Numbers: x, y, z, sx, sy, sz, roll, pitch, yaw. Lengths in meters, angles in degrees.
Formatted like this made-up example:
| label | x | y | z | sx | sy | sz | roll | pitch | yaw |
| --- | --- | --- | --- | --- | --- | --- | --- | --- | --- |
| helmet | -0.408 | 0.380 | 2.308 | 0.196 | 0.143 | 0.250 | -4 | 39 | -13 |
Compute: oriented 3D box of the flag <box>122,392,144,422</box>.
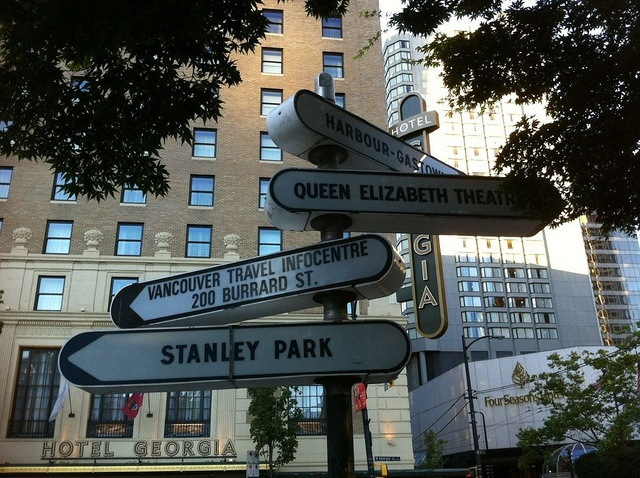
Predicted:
| label | x | y | z | sx | sy | sz | roll | pitch | yaw |
| --- | --- | --- | --- | --- | --- | --- | --- | --- | --- |
| flag | -8.766 | 7.795 | 27.646 | 0.830 | 1.119 | 1.146 | 2 | -22 | -10 |

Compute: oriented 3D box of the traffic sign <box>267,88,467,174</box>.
| label | x | y | z | sx | sy | sz | roll | pitch | yaw |
| --- | --- | --- | --- | --- | --- | --- | --- | --- | --- |
| traffic sign | 0.428 | -1.036 | 6.652 | 2.048 | 0.912 | 0.523 | 9 | -24 | -26 |
